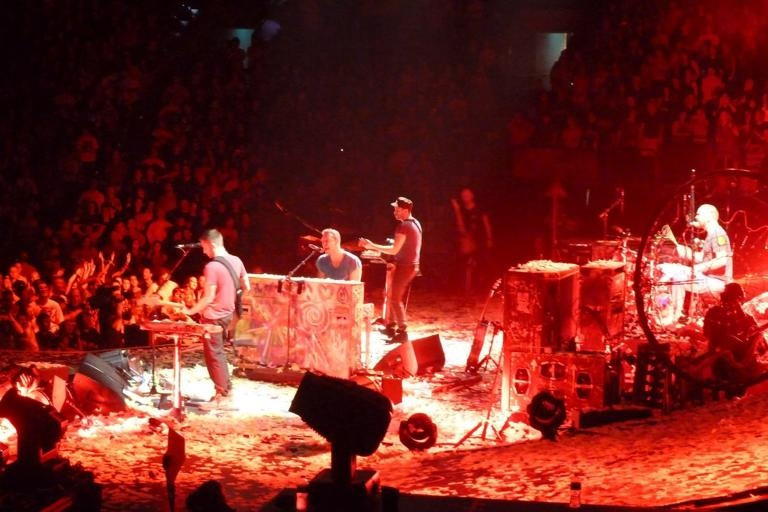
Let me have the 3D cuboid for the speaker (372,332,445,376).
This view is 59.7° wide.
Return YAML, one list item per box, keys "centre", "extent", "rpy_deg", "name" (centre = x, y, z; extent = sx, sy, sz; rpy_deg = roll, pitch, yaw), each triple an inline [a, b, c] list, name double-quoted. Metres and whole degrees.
- centre: [0.403, 1.432, 9.599]
  extent: [1.069, 0.448, 0.383]
  rpy_deg: [2, -1, -20]
  name: "speaker"

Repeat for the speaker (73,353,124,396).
- centre: [-3.492, 1.452, 8.284]
  extent: [0.525, 0.509, 0.373]
  rpy_deg: [2, -1, -21]
  name: "speaker"

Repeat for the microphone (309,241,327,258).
- centre: [-1.071, -0.114, 10.860]
  extent: [0.225, 0.166, 0.731]
  rpy_deg: [-15, 8, -1]
  name: "microphone"

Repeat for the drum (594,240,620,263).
- centre: [3.846, -0.097, 11.470]
  extent: [0.279, 0.321, 0.702]
  rpy_deg: [2, -1, -14]
  name: "drum"

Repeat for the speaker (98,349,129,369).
- centre: [-3.682, 1.358, 9.144]
  extent: [0.417, 0.270, 0.230]
  rpy_deg: [3, 33, -7]
  name: "speaker"

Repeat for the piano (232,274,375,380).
- centre: [-1.232, 1.027, 9.922]
  extent: [1.867, 1.475, 0.672]
  rpy_deg: [4, 6, 20]
  name: "piano"

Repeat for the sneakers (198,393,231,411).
- centre: [-2.192, 1.903, 8.732]
  extent: [0.303, 0.121, 0.225]
  rpy_deg: [1, 2, -9]
  name: "sneakers"

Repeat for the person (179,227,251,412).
- centre: [-2.148, 0.771, 8.687]
  extent: [0.705, 1.979, 0.943]
  rpy_deg: [2, -1, -9]
  name: "person"

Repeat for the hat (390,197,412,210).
- centre: [0.187, -0.864, 10.971]
  extent: [0.511, 0.175, 0.363]
  rpy_deg: [6, 7, 16]
  name: "hat"
